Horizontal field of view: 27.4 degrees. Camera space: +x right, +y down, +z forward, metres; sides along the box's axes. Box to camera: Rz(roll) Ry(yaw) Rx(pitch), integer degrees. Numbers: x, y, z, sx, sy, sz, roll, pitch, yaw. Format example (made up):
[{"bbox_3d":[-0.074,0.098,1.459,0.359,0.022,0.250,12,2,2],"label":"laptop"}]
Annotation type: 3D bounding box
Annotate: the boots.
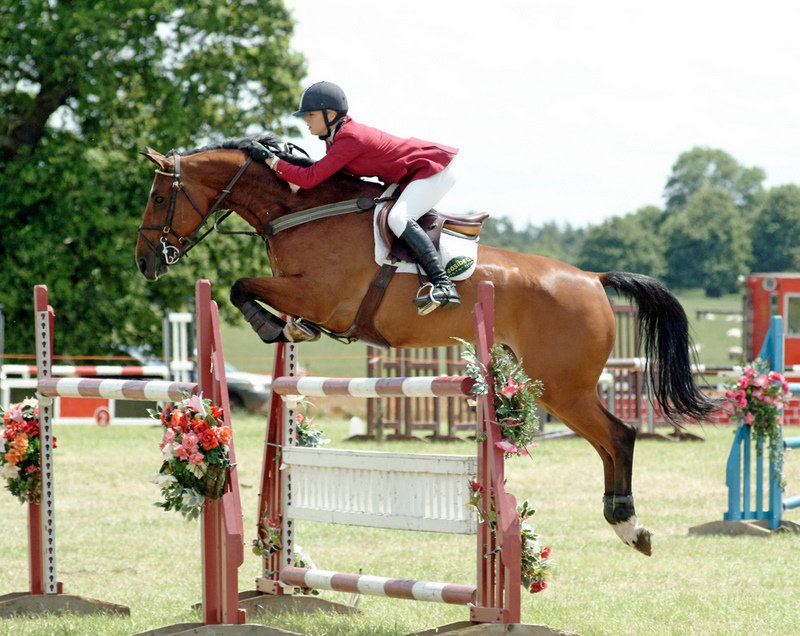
[{"bbox_3d":[0.228,-0.443,12.995,0.431,0.778,0.312,-13,-4,39],"label":"boots"}]
